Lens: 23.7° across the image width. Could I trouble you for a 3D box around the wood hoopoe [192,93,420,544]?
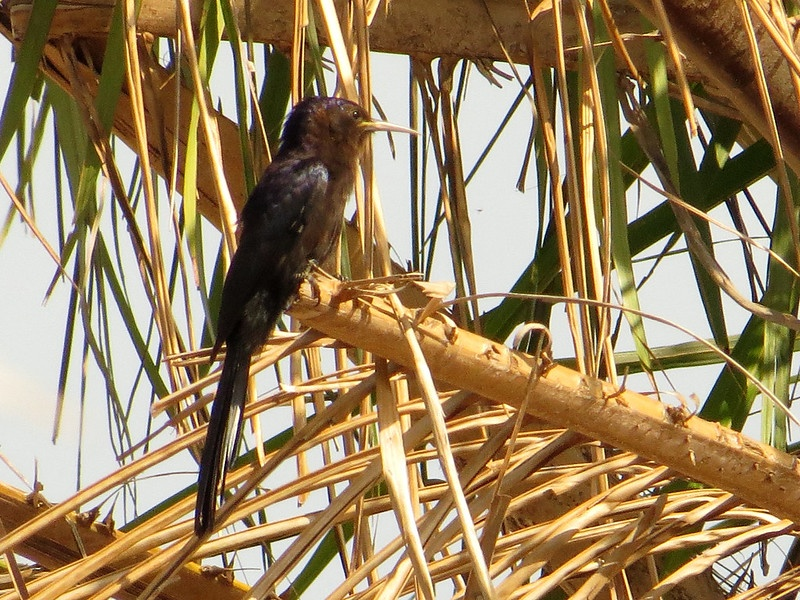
[{"bbox_3d":[-0.287,0.041,5.360,0.483,1.770,0.612,4,-47,-6],"label":"wood hoopoe"}]
